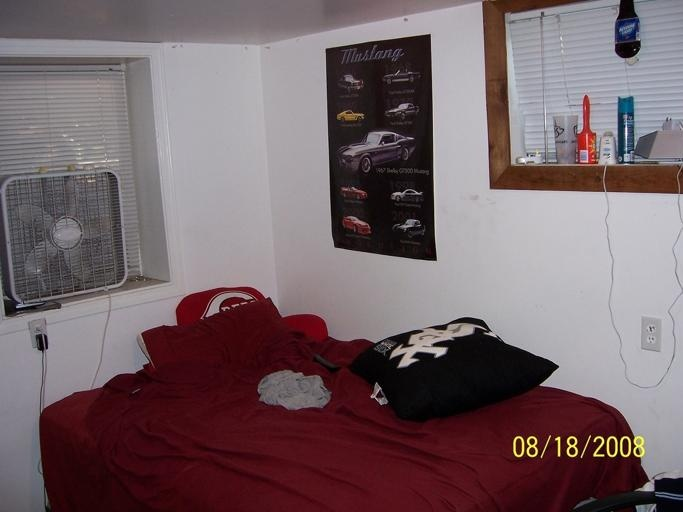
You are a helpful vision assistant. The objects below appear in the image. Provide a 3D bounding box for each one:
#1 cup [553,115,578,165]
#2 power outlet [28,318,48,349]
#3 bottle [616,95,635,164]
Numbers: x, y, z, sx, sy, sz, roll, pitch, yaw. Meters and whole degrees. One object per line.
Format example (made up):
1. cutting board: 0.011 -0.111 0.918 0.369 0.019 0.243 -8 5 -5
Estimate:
1. cup: 1.114 -0.581 2.442 0.113 0.248 0.090 2 9 23
2. power outlet: -1.720 0.449 2.790 0.089 0.162 0.055 -5 7 -39
3. bottle: 1.335 -0.589 2.298 0.078 0.310 0.056 3 9 29
